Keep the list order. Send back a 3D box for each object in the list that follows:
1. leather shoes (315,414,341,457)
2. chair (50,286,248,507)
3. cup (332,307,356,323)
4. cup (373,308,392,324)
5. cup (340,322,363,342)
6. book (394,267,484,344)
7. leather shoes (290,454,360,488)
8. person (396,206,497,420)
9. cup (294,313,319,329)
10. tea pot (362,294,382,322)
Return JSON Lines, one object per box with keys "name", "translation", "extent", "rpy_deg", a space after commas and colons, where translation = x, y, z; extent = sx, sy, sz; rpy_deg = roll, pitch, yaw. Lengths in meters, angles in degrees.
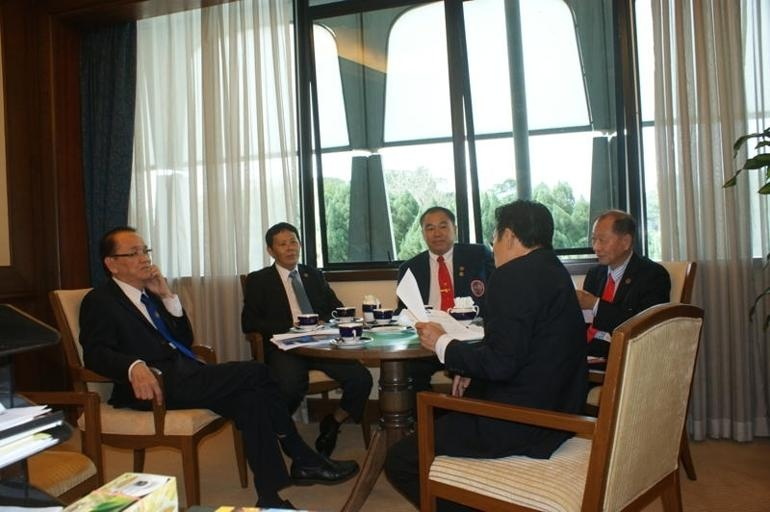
{"name": "leather shoes", "translation": [-0.389, 1.236, 4.326], "extent": [0.121, 0.317, 0.147], "rpy_deg": [8, -13, 43]}
{"name": "chair", "translation": [-1.438, 0.905, 4.567], "extent": [1.295, 1.869, 1.231], "rpy_deg": [-5, -5, 16]}
{"name": "cup", "translation": [-0.262, 0.377, 4.022], "extent": [0.111, 0.094, 0.136], "rpy_deg": [0, -4, -17]}
{"name": "cup", "translation": [-0.010, 0.379, 3.870], "extent": [0.095, 0.075, 0.090], "rpy_deg": [2, -3, 0]}
{"name": "cup", "translation": [-0.187, 0.432, 3.509], "extent": [0.094, 0.076, 0.111], "rpy_deg": [-2, 5, -41]}
{"name": "book", "translation": [0.321, 0.285, 3.564], "extent": [0.465, 0.177, 0.339], "rpy_deg": [6, 9, 19]}
{"name": "leather shoes", "translation": [-0.396, 1.352, 3.931], "extent": [0.473, 0.204, 0.187], "rpy_deg": [-1, 3, -9]}
{"name": "person", "translation": [0.495, 0.382, 4.791], "extent": [0.898, 1.243, 0.427], "rpy_deg": [-1, -18, 4]}
{"name": "cup", "translation": [-0.474, 0.407, 3.883], "extent": [0.090, 0.051, 0.110], "rpy_deg": [0, 6, 38]}
{"name": "tea pot", "translation": [-0.103, 0.349, 4.098], "extent": [0.149, 0.241, 0.145], "rpy_deg": [0, -4, 0]}
